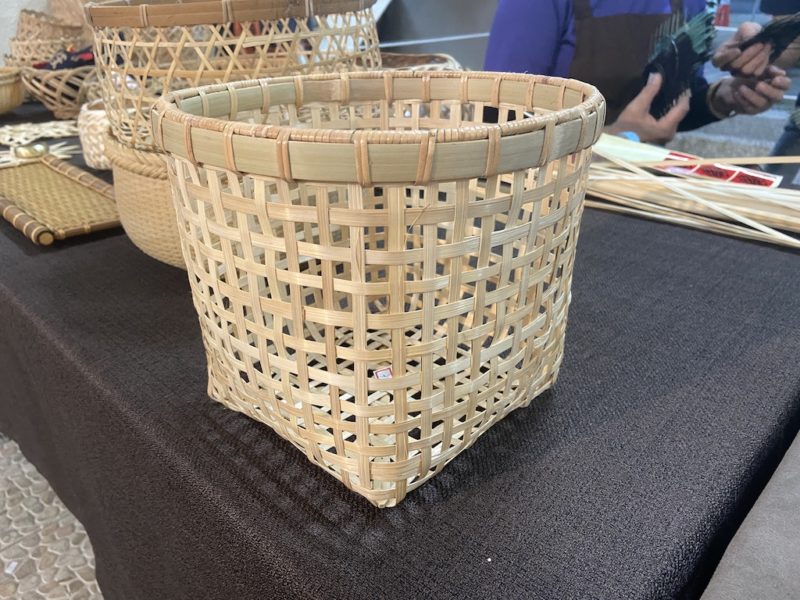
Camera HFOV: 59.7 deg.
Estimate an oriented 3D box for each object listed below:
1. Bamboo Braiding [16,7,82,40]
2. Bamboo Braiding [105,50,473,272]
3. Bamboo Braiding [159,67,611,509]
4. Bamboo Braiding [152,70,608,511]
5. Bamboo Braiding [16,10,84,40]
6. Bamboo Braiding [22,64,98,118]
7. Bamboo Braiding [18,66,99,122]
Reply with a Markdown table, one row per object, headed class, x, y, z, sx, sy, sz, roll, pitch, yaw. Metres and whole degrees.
| class | x | y | z | sx | sy | sz | roll | pitch | yaw |
| --- | --- | --- | --- | --- | --- | --- | --- | --- | --- |
| Bamboo Braiding | -0.869 | -0.662 | 1.698 | 0.155 | 0.056 | 0.111 | 9 | 21 | 0 |
| Bamboo Braiding | -0.295 | -0.218 | 1.055 | 0.455 | 0.161 | 0.474 | -5 | 23 | -15 |
| Bamboo Braiding | 0.017 | -0.076 | 0.780 | 0.423 | 0.331 | 0.480 | 17 | 28 | 37 |
| Bamboo Braiding | 0.016 | -0.077 | 0.780 | 0.422 | 0.330 | 0.480 | 17 | 27 | 37 |
| Bamboo Braiding | -0.861 | -0.656 | 1.698 | 0.150 | 0.053 | 0.107 | 11 | 20 | 10 |
| Bamboo Braiding | -0.741 | -0.448 | 1.522 | 0.149 | 0.069 | 0.129 | 4 | -12 | -25 |
| Bamboo Braiding | -0.736 | -0.453 | 1.504 | 0.152 | 0.066 | 0.128 | 2 | -5 | -19 |
